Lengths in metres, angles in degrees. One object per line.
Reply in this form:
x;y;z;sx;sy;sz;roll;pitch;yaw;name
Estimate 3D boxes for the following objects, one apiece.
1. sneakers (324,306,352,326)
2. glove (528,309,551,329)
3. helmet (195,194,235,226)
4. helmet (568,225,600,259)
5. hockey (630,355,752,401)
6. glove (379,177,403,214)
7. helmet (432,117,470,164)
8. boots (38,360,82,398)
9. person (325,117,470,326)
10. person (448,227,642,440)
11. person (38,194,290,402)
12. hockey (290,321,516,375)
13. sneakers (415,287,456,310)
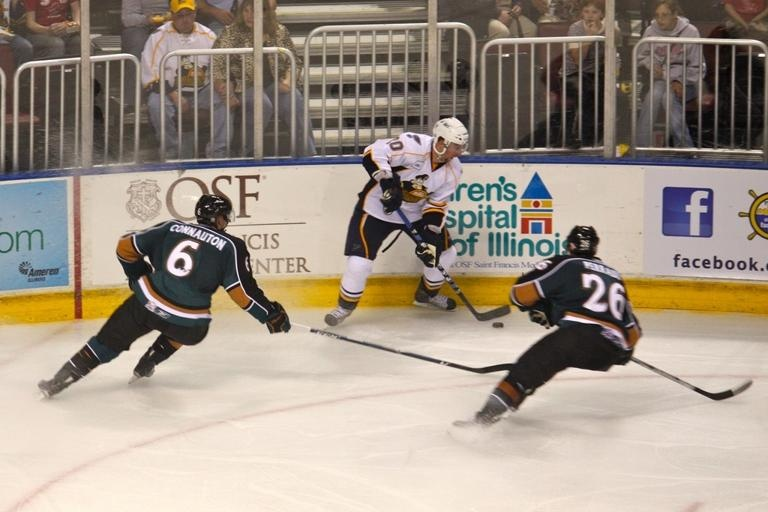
-0.424;0.489;8.824;0.303;0.096;0.134;-24;8;-33;sneakers
1.078;0.420;7.623;0.146;0.037;0.137;22;-22;11;glove
-1.205;-0.333;7.866;0.264;0.227;0.217;-7;15;-22;helmet
1.367;-0.058;7.613;0.239;0.279;0.293;3;-9;3;helmet
2.191;0.895;7.911;0.924;0.066;0.278;8;51;15;hockey
0.043;-0.497;8.653;0.208;0.272;0.273;-3;40;-7;glove
0.510;-0.902;8.639;0.211;0.349;0.272;-2;7;-21;helmet
-2.286;0.924;7.782;0.136;0.486;0.259;12;49;-32;boots
0.111;-0.290;8.935;1.300;1.752;0.958;-6;22;-31;person
1.192;0.585;7.875;0.958;0.673;1.362;-6;38;36;person
-1.507;0.361;7.892;1.652;1.713;0.574;11;21;-2;person
0.135;0.720;8.363;1.271;0.068;0.132;11;34;14;hockey
0.429;0.331;9.244;0.423;0.241;0.140;4;34;2;sneakers
